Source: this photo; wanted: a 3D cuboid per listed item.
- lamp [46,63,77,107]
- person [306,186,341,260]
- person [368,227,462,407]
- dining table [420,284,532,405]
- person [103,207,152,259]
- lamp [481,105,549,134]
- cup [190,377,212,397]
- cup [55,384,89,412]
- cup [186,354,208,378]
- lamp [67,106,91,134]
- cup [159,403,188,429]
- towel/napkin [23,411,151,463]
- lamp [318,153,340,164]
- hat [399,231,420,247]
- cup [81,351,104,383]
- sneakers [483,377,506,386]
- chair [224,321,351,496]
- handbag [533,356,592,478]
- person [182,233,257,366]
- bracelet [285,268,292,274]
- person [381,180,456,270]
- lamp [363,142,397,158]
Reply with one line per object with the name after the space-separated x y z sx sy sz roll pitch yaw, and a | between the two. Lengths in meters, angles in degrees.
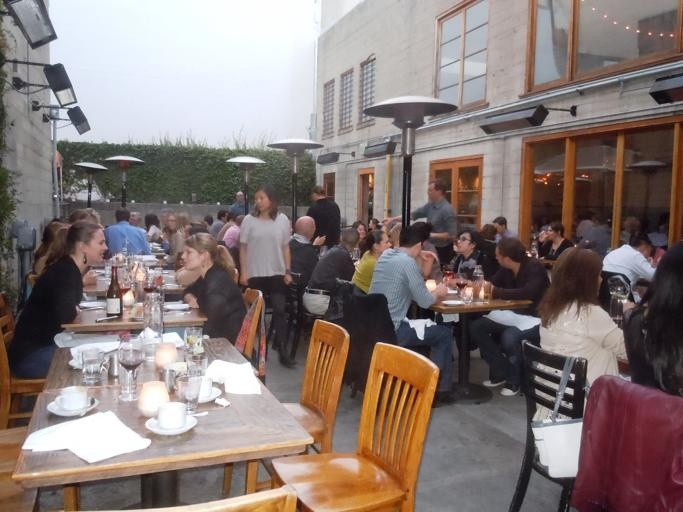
-4.712 -2.874 9.035 0.586 0.259 1.090 6 29 -35 | lamp
-0.276 -0.498 8.994 0.422 1.302 0.487 -10 37 8 | person
0.684 0.522 5.200 0.802 1.542 0.645 -2 3 -34 | person
1.270 0.802 5.586 1.009 1.042 1.035 -1 2 -16 | dining table
-3.248 -0.407 8.252 0.595 0.838 0.468 -8 51 -21 | person
2.861 -2.237 8.985 0.475 0.334 1.223 -4 9 -26 | lamp
-0.694 0.637 2.693 0.097 0.073 0.098 4 2 0 | cup
-1.281 0.663 2.569 0.125 0.088 0.096 -3 10 -28 | cup
-0.757 0.556 2.771 0.107 0.131 0.113 1 -2 0 | cup
-5.692 -2.933 11.717 0.383 0.599 1.512 -4 9 -25 | lamp
-0.748 0.692 2.410 0.101 0.077 0.102 1 10 0 | cup
-1.078 0.778 2.357 0.526 0.062 0.318 2 8 14 | towel/napkin
-0.377 -3.050 17.007 0.464 0.331 1.084 -3 9 -21 | lamp
0.633 -0.154 5.136 0.135 0.179 0.171 1 40 3 | hat
-1.321 0.600 2.919 0.157 0.172 0.105 -6 -7 27 | cup
1.580 1.311 5.619 0.245 0.102 0.091 4 -2 -33 | sneakers
-0.340 1.018 3.308 0.658 1.144 0.614 1 3 -22 | chair
1.330 0.931 3.109 0.371 0.634 0.334 10 -26 -31 | handbag
-1.145 0.559 4.670 0.712 1.455 0.609 3 7 -19 | person
-0.652 0.186 6.573 0.056 0.045 0.058 0 -3 3 | bracelet
1.291 -0.122 8.103 0.902 1.959 0.724 10 23 42 | person
0.900 -2.534 13.017 0.563 0.321 1.347 -2 9 -14 | lamp
